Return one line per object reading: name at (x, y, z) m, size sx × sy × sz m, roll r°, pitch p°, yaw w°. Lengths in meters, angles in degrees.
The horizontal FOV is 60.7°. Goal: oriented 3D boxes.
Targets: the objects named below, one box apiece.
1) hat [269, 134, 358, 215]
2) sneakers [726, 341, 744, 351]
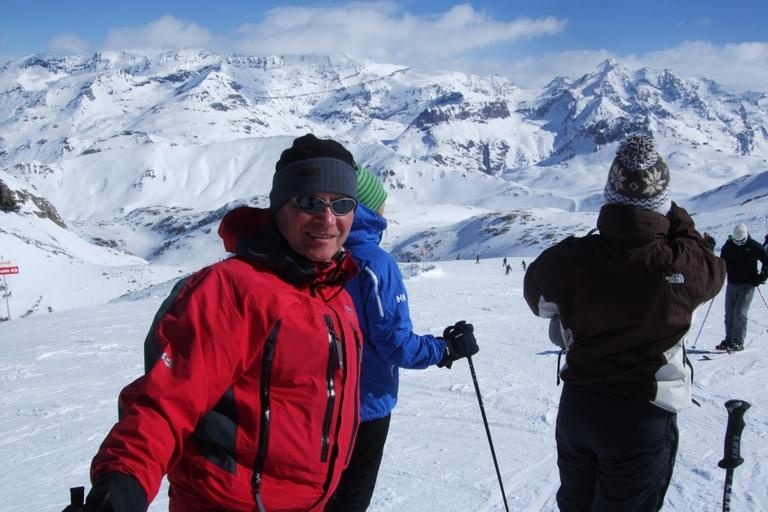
hat at (-0.771, -0.749, 6.482) m, size 0.776 × 0.613 × 0.793 m, roll 3°, pitch -5°, yaw -42°
sneakers at (6.690, 1.730, 12.477) m, size 0.181 × 0.126 × 0.387 m, roll -2°, pitch -1°, yaw -10°
